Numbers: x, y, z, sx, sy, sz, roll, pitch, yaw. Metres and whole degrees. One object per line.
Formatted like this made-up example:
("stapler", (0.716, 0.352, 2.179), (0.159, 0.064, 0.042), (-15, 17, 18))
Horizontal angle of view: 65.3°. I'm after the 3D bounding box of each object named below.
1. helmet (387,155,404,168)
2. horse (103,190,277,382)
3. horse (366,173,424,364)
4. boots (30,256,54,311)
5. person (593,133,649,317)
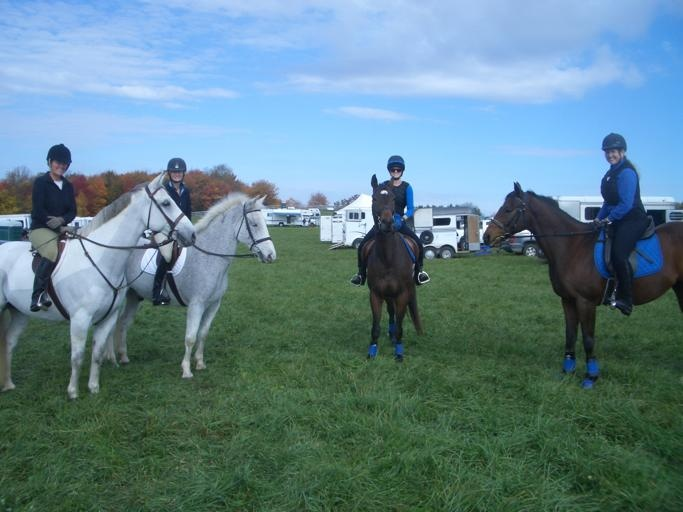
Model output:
("helmet", (0.970, -1.695, 9.723), (0.269, 0.223, 0.229), (1, 11, 6))
("horse", (-2.806, 0.562, 8.926), (3.388, 2.923, 0.954), (-2, -7, 18))
("horse", (0.914, 0.225, 9.446), (1.010, 3.224, 1.436), (1, 11, 8))
("boots", (-4.151, 0.383, 7.406), (0.344, 0.712, 0.205), (-7, 13, -30))
("person", (4.376, -0.497, 8.350), (0.732, 2.761, 0.776), (5, 12, 28))
